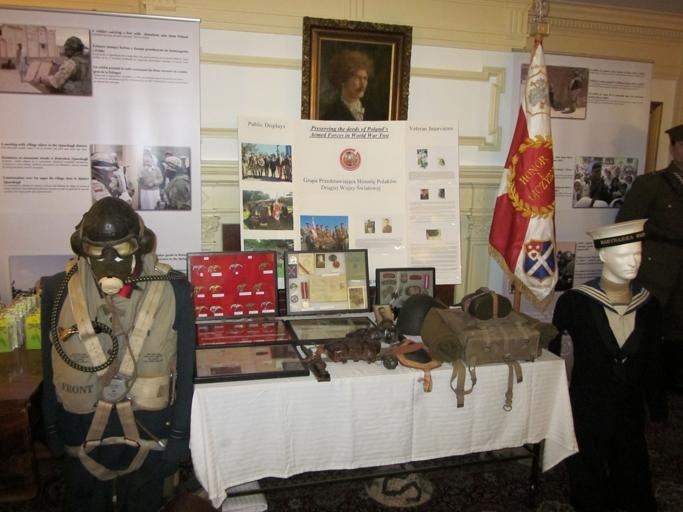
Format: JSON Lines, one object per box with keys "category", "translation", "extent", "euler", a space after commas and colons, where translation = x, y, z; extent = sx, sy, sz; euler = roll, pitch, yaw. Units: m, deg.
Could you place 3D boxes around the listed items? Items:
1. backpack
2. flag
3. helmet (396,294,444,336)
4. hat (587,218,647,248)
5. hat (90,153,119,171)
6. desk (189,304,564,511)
{"category": "backpack", "translation": [0.991, 0.531, 3.927], "extent": [0.662, 0.400, 0.551], "euler": [0, 13, -8]}
{"category": "flag", "translation": [1.621, -0.723, 4.929], "extent": [0.563, 2.255, 0.482], "euler": [3, 12, 23]}
{"category": "helmet", "translation": [0.600, 0.456, 4.356], "extent": [0.298, 0.307, 0.473], "euler": [13, 3, 8]}
{"category": "hat", "translation": [1.891, -0.115, 3.851], "extent": [0.226, 0.107, 0.243], "euler": [-10, 3, -41]}
{"category": "hat", "translation": [-1.978, -0.790, 4.710], "extent": [0.215, 0.158, 0.034], "euler": [-2, 11, -2]}
{"category": "desk", "translation": [0.235, 0.891, 3.763], "extent": [1.811, 0.583, 1.192], "euler": [-3, 28, -8]}
